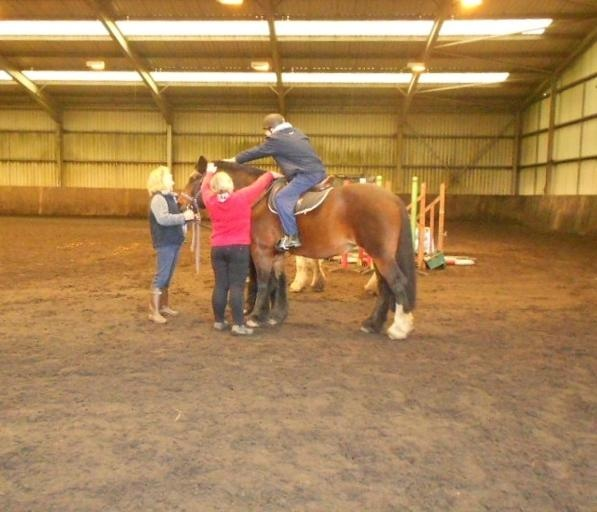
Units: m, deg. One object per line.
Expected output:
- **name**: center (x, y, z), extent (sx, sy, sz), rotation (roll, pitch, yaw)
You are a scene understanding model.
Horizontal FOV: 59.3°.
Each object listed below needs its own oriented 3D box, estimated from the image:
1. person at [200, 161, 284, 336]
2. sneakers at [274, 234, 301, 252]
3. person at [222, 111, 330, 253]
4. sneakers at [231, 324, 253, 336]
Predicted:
- **person**: center (-0.625, -0.027, 5.082), extent (0.588, 1.542, 0.565), rotation (-1, 10, -12)
- **sneakers**: center (-0.100, -0.125, 5.123), extent (0.216, 0.167, 0.122), rotation (3, 13, 6)
- **person**: center (-0.188, -0.771, 5.410), extent (0.884, 1.394, 0.543), rotation (-4, 3, 22)
- **sneakers**: center (-0.531, 0.702, 5.012), extent (0.234, 0.117, 0.087), rotation (0, 2, -21)
